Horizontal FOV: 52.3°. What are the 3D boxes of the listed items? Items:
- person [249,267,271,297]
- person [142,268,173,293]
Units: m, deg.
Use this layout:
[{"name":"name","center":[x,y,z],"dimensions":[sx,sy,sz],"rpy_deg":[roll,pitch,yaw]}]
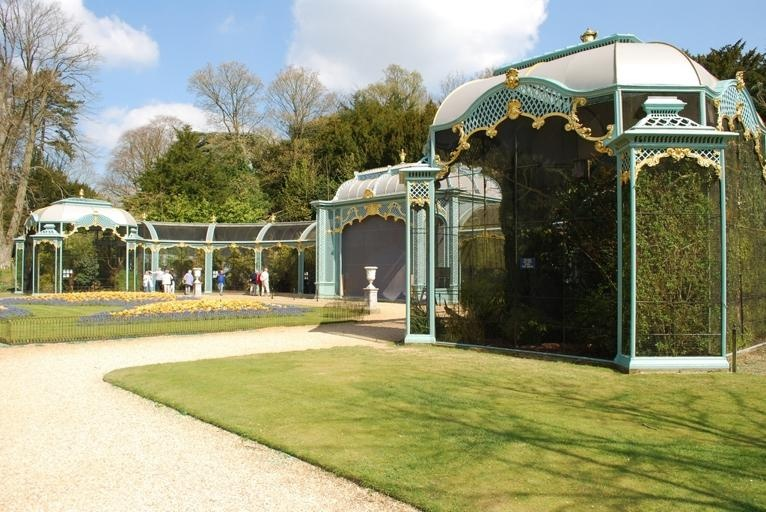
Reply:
[{"name":"person","center":[-6.186,1.348,39.175],"dimensions":[0.503,1.559,1.204],"rpy_deg":[-3,5,-44]},{"name":"person","center":[-10.988,1.253,37.837],"dimensions":[0.971,1.291,0.373],"rpy_deg":[3,15,-5]}]
